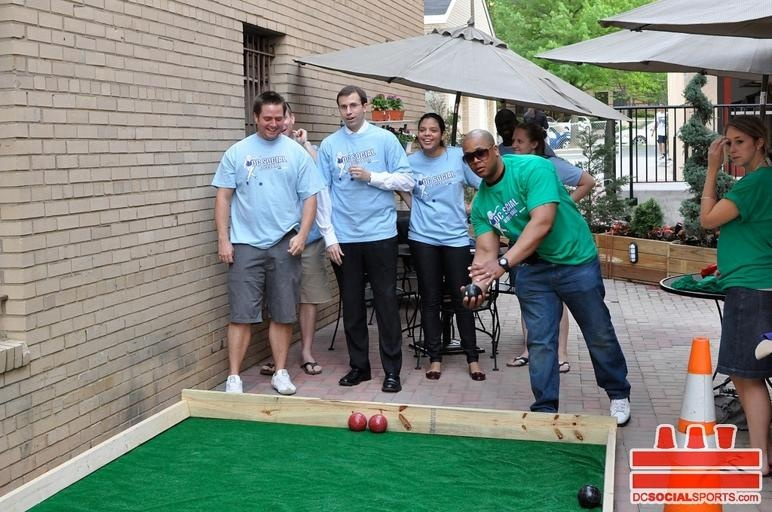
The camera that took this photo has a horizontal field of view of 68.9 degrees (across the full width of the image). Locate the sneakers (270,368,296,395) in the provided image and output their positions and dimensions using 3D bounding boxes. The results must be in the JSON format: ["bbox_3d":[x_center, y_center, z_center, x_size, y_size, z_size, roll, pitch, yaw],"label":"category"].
[{"bbox_3d":[-1.027,1.225,5.485,0.270,0.239,0.258,0,9,3],"label":"sneakers"}]

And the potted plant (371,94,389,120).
[{"bbox_3d":[-0.102,-2.240,8.566,0.401,0.397,0.363,-1,1,-2],"label":"potted plant"}]

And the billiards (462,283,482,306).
[{"bbox_3d":[0.561,0.248,3.670,0.143,0.125,0.122,3,9,20],"label":"billiards"}]

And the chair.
[{"bbox_3d":[0.633,0.443,6.746,2.053,1.176,1.945,1,17,5],"label":"chair"}]

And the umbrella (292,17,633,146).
[{"bbox_3d":[0.976,-2.021,6.203,1.994,0.796,2.023,-2,24,-40],"label":"umbrella"}]

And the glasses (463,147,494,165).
[{"bbox_3d":[0.651,-0.721,4.081,0.186,0.107,0.093,3,9,21],"label":"glasses"}]

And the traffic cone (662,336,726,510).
[{"bbox_3d":[1.954,0.839,3.503,0.208,0.653,0.315,5,10,29],"label":"traffic cone"}]

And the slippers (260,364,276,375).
[{"bbox_3d":[-1.274,1.222,6.041,0.090,0.087,0.237,-1,-7,8],"label":"slippers"}]

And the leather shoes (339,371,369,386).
[{"bbox_3d":[-0.322,1.239,5.726,0.327,0.133,0.121,3,-3,-44],"label":"leather shoes"}]

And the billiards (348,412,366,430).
[{"bbox_3d":[-0.233,1.323,4.540,0.143,0.119,0.135,2,3,1],"label":"billiards"}]
